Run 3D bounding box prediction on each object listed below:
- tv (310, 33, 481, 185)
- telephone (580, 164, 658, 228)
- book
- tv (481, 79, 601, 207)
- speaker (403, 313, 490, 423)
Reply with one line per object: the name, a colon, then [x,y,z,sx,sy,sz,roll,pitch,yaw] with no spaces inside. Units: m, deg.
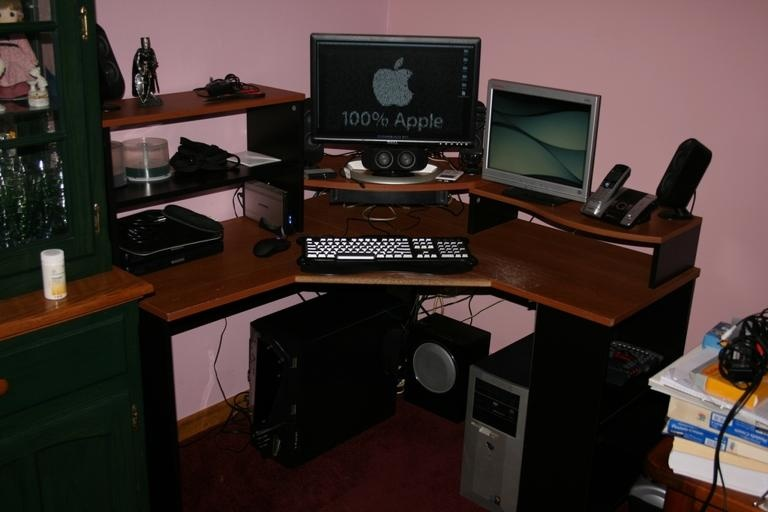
tv: [0.051,-0.696,2.809,0.726,0.581,0.300,1,26,-2]
telephone: [1.003,-0.231,2.573,0.235,0.131,0.321,27,56,30]
book: [1.148,0.502,2.118,0.431,0.388,0.401,16,18,34]
tv: [0.700,-0.498,2.712,0.559,0.458,0.058,17,25,23]
speaker: [0.322,0.601,3.171,0.310,0.543,0.440,-17,29,-38]
